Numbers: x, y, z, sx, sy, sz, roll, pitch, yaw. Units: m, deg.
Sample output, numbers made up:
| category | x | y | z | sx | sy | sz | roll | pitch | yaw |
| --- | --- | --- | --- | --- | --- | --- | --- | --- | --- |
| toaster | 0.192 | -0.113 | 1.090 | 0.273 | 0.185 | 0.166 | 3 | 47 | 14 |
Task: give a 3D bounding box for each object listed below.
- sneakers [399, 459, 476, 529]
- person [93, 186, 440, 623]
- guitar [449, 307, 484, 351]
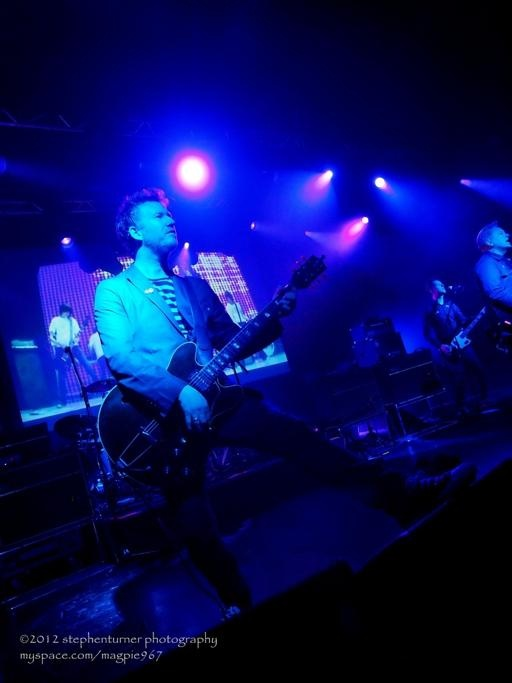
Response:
| category | x | y | z | sx | sy | sz | roll | pitch | yaw |
| --- | --- | --- | --- | --- | --- | --- | --- | --- | --- |
| sneakers | 0.906 | 0.785 | 2.922 | 0.422 | 0.240 | 0.114 | -37 | -43 | 18 |
| person | -0.012 | 0.199 | 2.990 | 1.307 | 2.384 | 0.683 | -21 | -10 | 6 |
| guitar | 2.638 | -0.148 | 7.190 | 0.620 | 0.221 | 0.086 | -51 | -1 | -9 |
